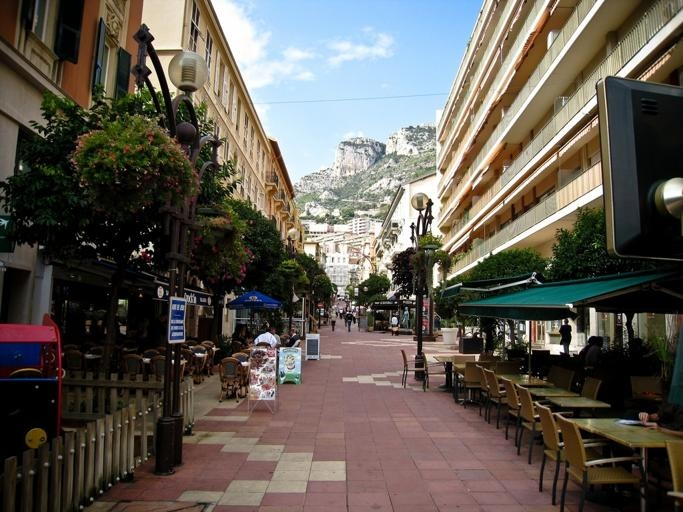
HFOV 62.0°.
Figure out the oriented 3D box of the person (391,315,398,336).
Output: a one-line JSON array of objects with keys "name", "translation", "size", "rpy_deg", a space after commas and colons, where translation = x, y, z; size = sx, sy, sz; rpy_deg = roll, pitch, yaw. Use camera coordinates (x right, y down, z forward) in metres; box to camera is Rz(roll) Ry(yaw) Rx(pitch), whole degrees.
[{"name": "person", "translation": [4.380, 5.800, 47.167], "size": [0.511, 1.548, 1.346], "rpy_deg": [-1, -10, 4]}]
